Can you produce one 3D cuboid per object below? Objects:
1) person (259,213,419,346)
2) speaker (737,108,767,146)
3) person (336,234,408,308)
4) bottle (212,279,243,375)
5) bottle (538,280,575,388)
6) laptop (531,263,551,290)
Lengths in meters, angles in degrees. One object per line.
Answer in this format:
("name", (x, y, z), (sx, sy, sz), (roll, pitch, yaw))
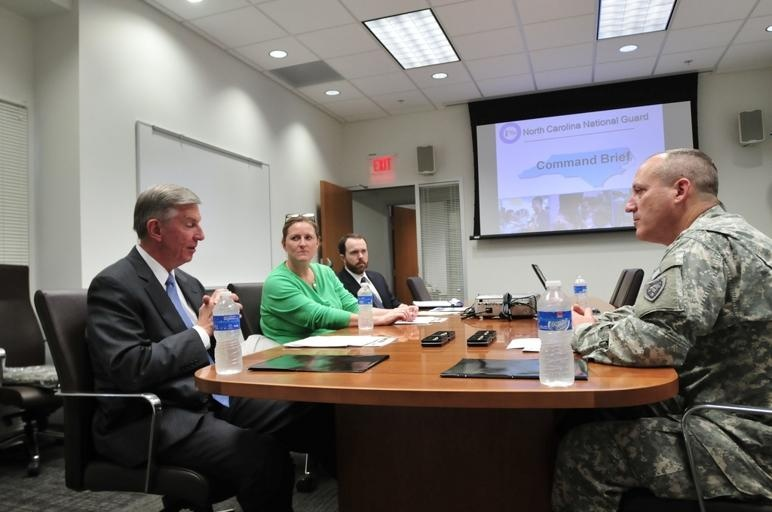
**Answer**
("person", (-0.404, 0.148, 3.554), (1.045, 0.831, 0.665), (-4, -5, 21))
("speaker", (4.353, -1.530, 6.287), (0.277, 0.390, 0.293), (-2, 1, 34))
("person", (-0.171, 0.187, 4.504), (0.586, 0.723, 0.556), (-7, -4, 33))
("bottle", (-0.661, 0.313, 2.204), (0.108, 0.306, 0.198), (-3, 1, -17))
("bottle", (0.634, 0.277, 1.977), (0.125, 0.356, 0.291), (-2, 1, 19))
("laptop", (1.700, 0.202, 5.782), (0.114, 0.199, 0.849), (0, -18, 22))
